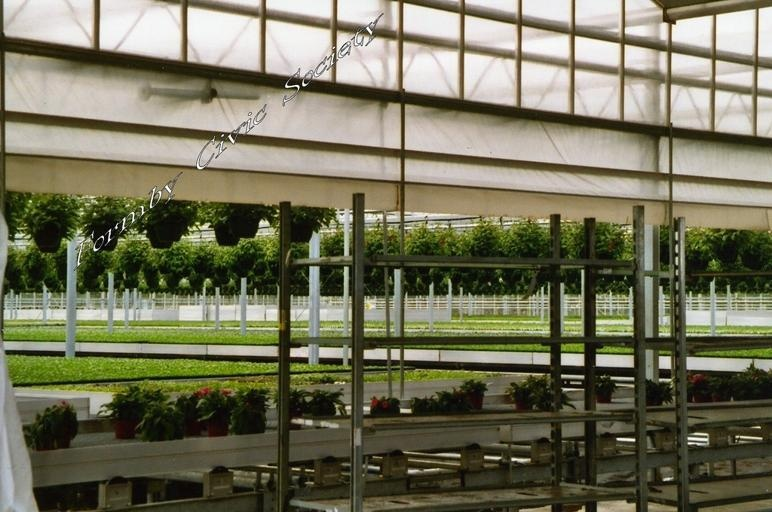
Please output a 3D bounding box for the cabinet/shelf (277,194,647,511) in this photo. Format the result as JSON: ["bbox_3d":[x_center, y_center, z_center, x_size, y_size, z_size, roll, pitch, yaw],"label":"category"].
[{"bbox_3d":[1.003,1.177,16.893,3.524,3.576,1.249,3,-6,-34],"label":"cabinet/shelf"}]

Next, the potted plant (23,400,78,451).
[{"bbox_3d":[-3.205,1.669,12.581,0.419,0.432,0.437,-2,3,7],"label":"potted plant"}]

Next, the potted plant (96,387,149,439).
[{"bbox_3d":[-2.627,1.603,13.054,0.482,0.512,0.437,1,4,37],"label":"potted plant"}]
